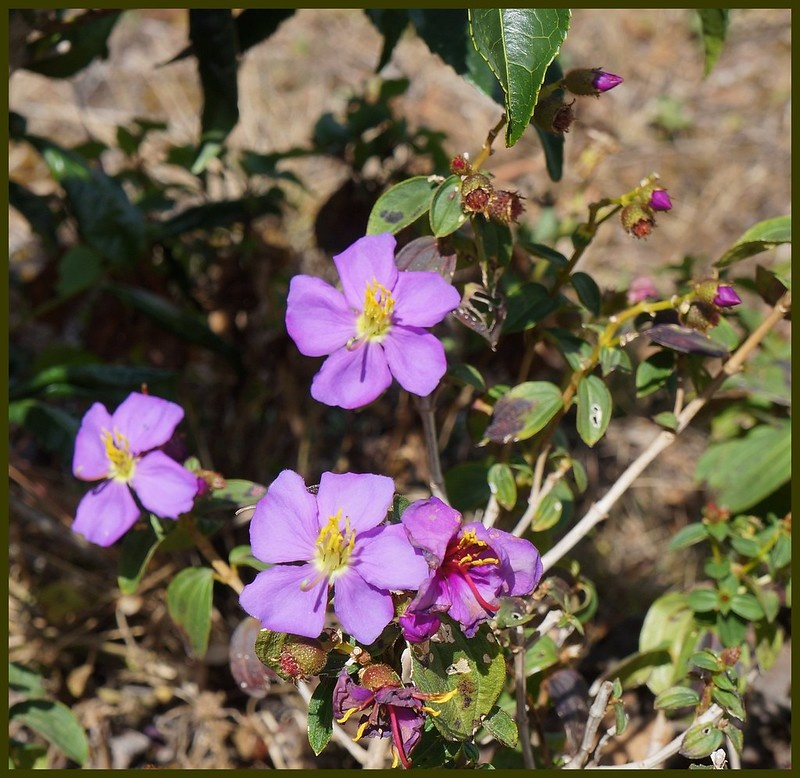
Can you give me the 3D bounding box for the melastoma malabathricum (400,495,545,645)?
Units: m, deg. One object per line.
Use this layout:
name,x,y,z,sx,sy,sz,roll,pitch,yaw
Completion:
melastoma malabathricum,0.123,0.349,1.853,0.312,0.348,0.127,14,48,15

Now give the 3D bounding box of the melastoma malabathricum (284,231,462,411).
melastoma malabathricum,-0.061,-0.171,1.947,0.411,0.160,0.385,28,42,24

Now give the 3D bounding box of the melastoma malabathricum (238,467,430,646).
melastoma malabathricum,-0.131,0.334,1.785,0.385,0.133,0.334,9,63,5

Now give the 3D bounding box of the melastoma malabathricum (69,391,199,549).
melastoma malabathricum,-0.620,0.158,1.963,0.299,0.138,0.347,-14,63,-7
